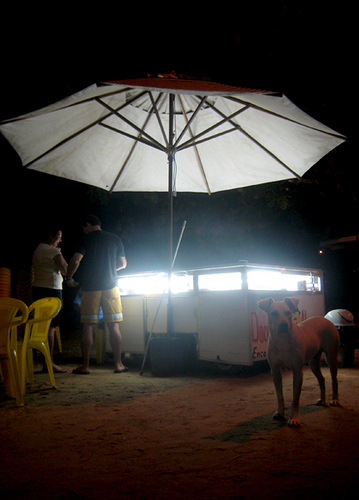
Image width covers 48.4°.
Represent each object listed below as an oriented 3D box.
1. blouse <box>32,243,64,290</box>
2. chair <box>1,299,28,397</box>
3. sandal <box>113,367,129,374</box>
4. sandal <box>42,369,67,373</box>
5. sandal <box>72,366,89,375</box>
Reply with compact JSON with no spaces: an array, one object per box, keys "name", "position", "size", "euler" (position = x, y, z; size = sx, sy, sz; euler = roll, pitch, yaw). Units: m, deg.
[{"name":"blouse","position":[-1.848,0.237,5.617],"size":[0.613,0.635,0.364],"euler":[-2,-6,34]},{"name":"chair","position":[-1.560,0.936,3.728],"size":[0.231,0.928,0.512],"euler":[4,-10,-21]},{"name":"sandal","position":[-0.832,1.722,5.715],"size":[0.207,0.085,0.078],"euler":[-1,5,-24]},{"name":"sandal","position":[-1.779,1.715,5.665],"size":[0.417,0.048,0.111],"euler":[-3,-10,14]},{"name":"sandal","position":[-1.345,1.639,5.464],"size":[0.238,0.095,0.081],"euler":[8,-8,-1]}]
